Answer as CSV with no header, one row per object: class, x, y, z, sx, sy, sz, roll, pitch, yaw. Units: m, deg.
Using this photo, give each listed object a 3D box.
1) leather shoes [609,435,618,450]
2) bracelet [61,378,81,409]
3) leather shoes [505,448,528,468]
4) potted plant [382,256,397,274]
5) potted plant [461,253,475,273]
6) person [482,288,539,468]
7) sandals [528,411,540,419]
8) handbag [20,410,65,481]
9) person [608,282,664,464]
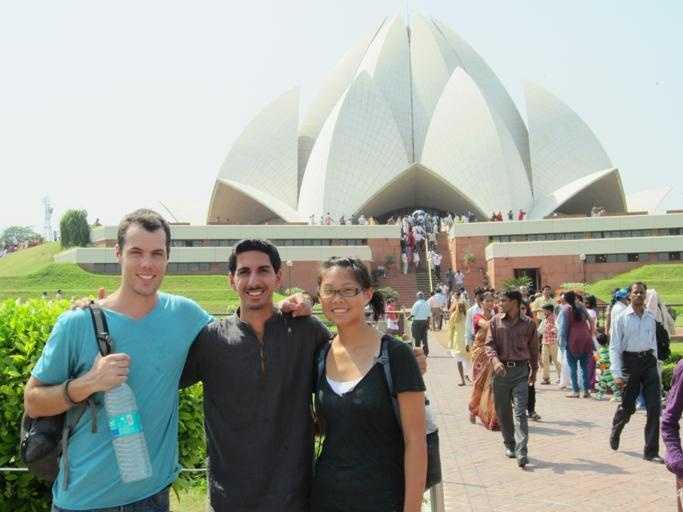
leather shoes,2.781,1.878,5.374,0.059,0.189,0.071,3,3,2
bracelet,-1.275,0.639,2.475,0.065,0.121,0.036,-3,-2,13
leather shoes,1.757,1.967,5.241,0.154,0.122,0.431,-3,-3,2
potted plant,2.554,0.415,28.219,0.725,1.270,0.757,2,-15,-8
potted plant,6.638,0.363,27.673,0.712,1.281,0.839,2,-15,-2
person,1.754,1.187,5.440,0.492,1.307,0.739,-4,-2,27
sandals,2.484,2.049,6.829,0.068,0.085,0.174,1,-8,-21
handbag,-1.435,0.920,2.539,0.201,0.332,0.107,-2,-2,-18
person,3.035,1.180,5.511,0.497,1.766,0.769,3,-8,-4
